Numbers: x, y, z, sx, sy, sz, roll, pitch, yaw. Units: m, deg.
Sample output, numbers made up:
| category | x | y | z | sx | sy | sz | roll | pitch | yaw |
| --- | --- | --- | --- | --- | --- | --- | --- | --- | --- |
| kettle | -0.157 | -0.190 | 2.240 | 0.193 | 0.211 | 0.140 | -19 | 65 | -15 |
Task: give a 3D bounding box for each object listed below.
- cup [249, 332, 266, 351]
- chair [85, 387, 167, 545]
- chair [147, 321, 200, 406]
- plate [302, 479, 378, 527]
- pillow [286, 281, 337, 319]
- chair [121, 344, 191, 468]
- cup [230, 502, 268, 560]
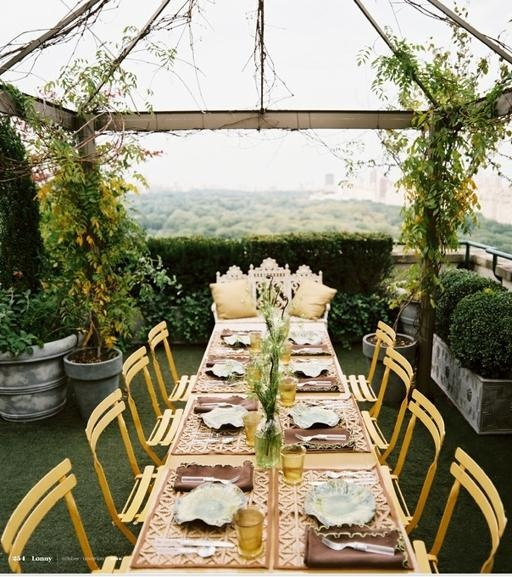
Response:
| category | x | y | z | sx | sy | sz | roll | pitch | yaw |
| --- | --- | --- | --- | --- | --- | --- | --- | --- | --- |
| cup | 0.003 | 0.331 | 2.742 | 0.115 | 0.120 | 0.117 | 1 | 15 | 0 |
| chair | -0.752 | 1.000 | 2.509 | 0.457 | 0.857 | 0.533 | -2 | 36 | 1 |
| chair | -0.799 | 0.705 | 4.295 | 0.588 | 0.826 | 0.481 | 2 | 32 | 2 |
| plate | 0.268 | 0.686 | 1.422 | 0.226 | 0.033 | 0.258 | -1 | 10 | 5 |
| pillow | 0.619 | 0.142 | 4.981 | 0.473 | 0.426 | 0.527 | -6 | 11 | -23 |
| chair | -0.731 | 0.848 | 3.204 | 0.426 | 0.846 | 0.574 | -1 | 35 | 1 |
| cup | -0.013 | 0.662 | 1.231 | 0.113 | 0.117 | 0.111 | -1 | 18 | 0 |
